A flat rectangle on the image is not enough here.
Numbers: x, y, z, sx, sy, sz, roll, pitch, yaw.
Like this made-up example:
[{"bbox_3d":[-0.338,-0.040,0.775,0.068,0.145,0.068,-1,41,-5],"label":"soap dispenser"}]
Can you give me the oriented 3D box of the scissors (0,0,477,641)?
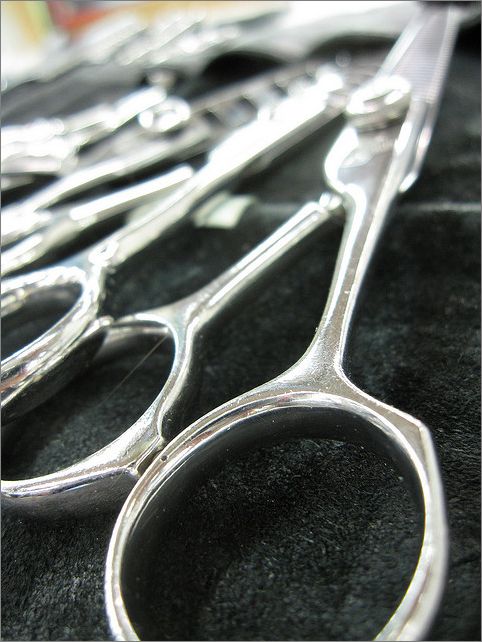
[{"bbox_3d":[0.049,-0.015,0.299,0.150,0.020,0.283,17,53,34],"label":"scissors"}]
